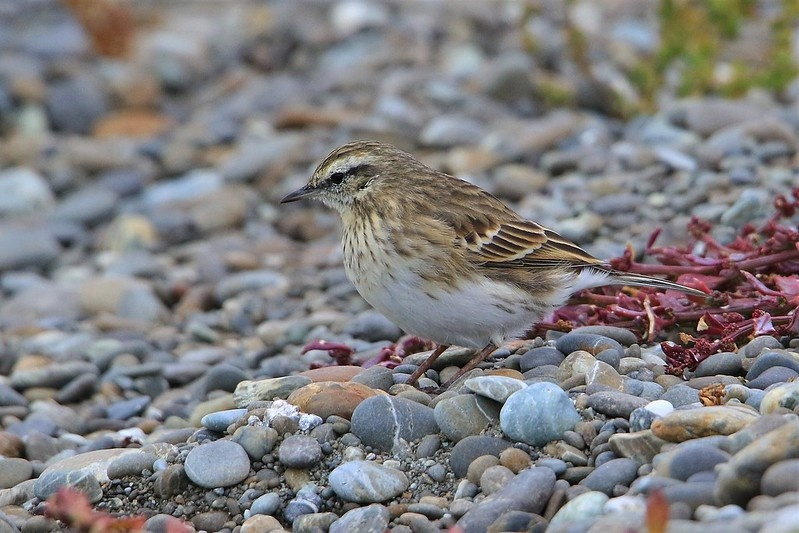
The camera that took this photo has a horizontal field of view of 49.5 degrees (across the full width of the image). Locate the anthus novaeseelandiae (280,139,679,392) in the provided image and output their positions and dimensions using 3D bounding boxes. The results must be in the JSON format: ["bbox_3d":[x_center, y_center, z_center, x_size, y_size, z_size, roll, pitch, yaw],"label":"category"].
[{"bbox_3d":[0.780,-0.116,7.208,3.610,1.644,1.143,-3,5,-24],"label":"anthus novaeseelandiae"}]
